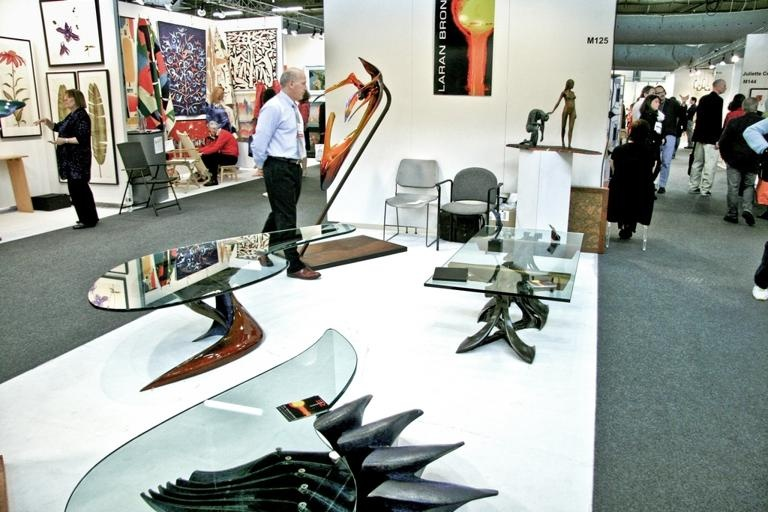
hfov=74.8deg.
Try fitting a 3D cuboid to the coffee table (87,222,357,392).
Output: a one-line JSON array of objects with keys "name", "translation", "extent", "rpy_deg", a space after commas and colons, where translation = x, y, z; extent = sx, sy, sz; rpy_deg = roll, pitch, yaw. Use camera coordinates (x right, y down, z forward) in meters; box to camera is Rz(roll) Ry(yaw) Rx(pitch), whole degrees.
[{"name": "coffee table", "translation": [-1.149, 0.334, 4.223], "extent": [2.190, 0.698, 1.039], "rpy_deg": [-10, 17, -43]}]

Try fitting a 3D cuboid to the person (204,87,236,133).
[{"name": "person", "translation": [-3.542, -3.182, 10.949], "extent": [0.644, 1.027, 1.448], "rpy_deg": [-5, 19, -18]}]

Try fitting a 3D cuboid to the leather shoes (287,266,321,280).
[{"name": "leather shoes", "translation": [-0.840, 0.158, 5.273], "extent": [0.300, 0.104, 0.153], "rpy_deg": [1, 12, 8]}]

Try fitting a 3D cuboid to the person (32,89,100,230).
[{"name": "person", "translation": [-4.370, -1.380, 7.137], "extent": [0.467, 1.884, 0.620], "rpy_deg": [-7, 20, -22]}]

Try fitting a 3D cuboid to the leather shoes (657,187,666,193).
[{"name": "leather shoes", "translation": [5.099, -1.226, 9.270], "extent": [0.150, 0.137, 0.077], "rpy_deg": [5, 25, 24]}]

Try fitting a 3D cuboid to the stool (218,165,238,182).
[{"name": "stool", "translation": [-3.417, -1.824, 11.043], "extent": [0.442, 0.360, 0.428], "rpy_deg": [-6, 16, -16]}]

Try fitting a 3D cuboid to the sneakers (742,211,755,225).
[{"name": "sneakers", "translation": [5.125, -0.541, 7.093], "extent": [0.094, 0.215, 0.074], "rpy_deg": [-29, 7, -26]}]

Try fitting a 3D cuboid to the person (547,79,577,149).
[{"name": "person", "translation": [2.063, -1.649, 5.793], "extent": [0.314, 0.759, 0.651], "rpy_deg": [7, 20, 18]}]

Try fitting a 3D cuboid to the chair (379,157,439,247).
[{"name": "chair", "translation": [0.342, -0.715, 6.462], "extent": [0.768, 1.025, 0.704], "rpy_deg": [3, 19, 6]}]

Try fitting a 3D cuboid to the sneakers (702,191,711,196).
[{"name": "sneakers", "translation": [5.828, -1.135, 9.099], "extent": [0.138, 0.089, 0.079], "rpy_deg": [20, -6, 9]}]
